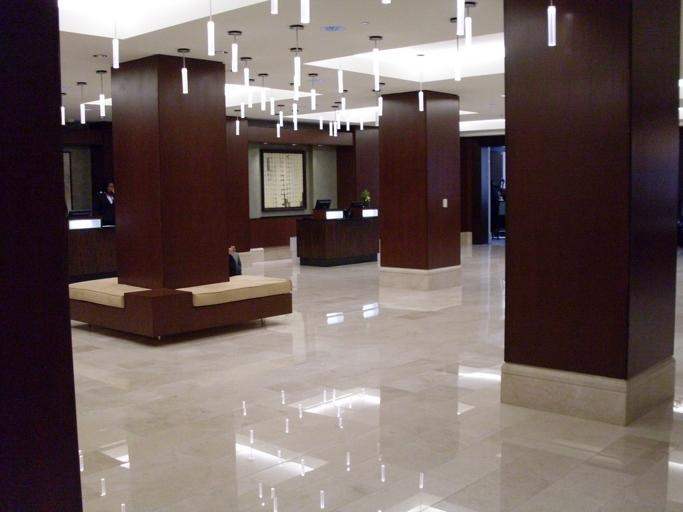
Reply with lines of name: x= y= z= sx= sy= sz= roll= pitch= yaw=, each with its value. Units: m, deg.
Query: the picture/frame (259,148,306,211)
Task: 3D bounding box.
picture/frame: x=-2.461 y=-3.141 z=22.696 sx=2.348 sy=2.807 sz=0.180 roll=-5 pitch=7 yaw=-41

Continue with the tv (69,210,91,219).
tv: x=-6.476 y=-1.034 z=13.943 sx=0.474 sy=0.140 sz=1.216 roll=-4 pitch=7 yaw=-27

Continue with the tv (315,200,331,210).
tv: x=-0.619 y=-1.733 z=18.524 sx=0.401 sy=0.308 sz=0.450 roll=-2 pitch=-3 yaw=-16

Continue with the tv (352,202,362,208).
tv: x=0.506 y=-1.665 z=18.323 sx=0.403 sy=0.173 sz=0.151 roll=-3 pitch=6 yaw=-16
